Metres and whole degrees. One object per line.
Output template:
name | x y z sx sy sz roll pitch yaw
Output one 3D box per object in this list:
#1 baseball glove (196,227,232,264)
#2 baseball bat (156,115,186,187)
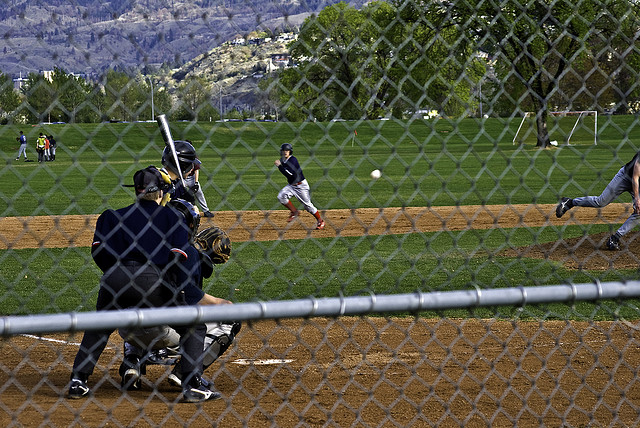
baseball glove | -0.904 0.270 8.164 0.252 0.202 0.238 44 28 4
baseball bat | -0.996 -0.390 6.607 0.090 0.631 0.085 -7 21 27
